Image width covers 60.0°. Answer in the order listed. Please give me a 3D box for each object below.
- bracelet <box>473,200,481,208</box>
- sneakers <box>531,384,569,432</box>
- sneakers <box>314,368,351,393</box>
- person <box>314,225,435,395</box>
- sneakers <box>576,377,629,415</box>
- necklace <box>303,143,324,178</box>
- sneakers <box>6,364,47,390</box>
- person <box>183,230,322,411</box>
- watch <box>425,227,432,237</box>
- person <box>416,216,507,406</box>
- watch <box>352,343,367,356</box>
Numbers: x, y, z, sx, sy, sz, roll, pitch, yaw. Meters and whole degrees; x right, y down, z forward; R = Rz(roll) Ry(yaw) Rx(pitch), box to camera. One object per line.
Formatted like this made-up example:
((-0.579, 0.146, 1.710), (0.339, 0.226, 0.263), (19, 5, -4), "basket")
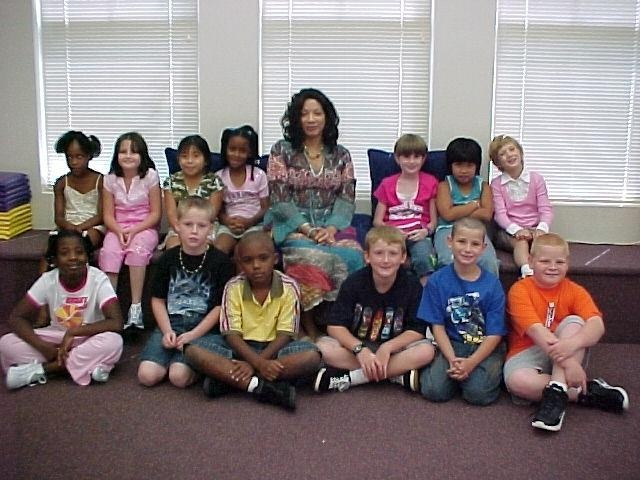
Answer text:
((1.010, -0.236, 3.574), (0.025, 0.040, 0.054), (-4, 34, 6), "bracelet")
((1.039, 0.758, 2.505), (0.101, 0.122, 0.284), (6, 23, 27), "sneakers")
((0.073, 0.682, 2.745), (0.099, 0.082, 0.223), (12, 17, 37), "sneakers")
((0.295, 0.317, 3.017), (0.782, 0.968, 0.737), (1, 13, 5), "person")
((1.337, 0.729, 2.623), (0.133, 0.103, 0.287), (-7, 10, -41), "sneakers")
((-0.032, -0.501, 3.493), (0.115, 0.197, 0.044), (-10, -13, -10), "necklace")
((-1.463, 0.675, 2.759), (0.143, 0.121, 0.064), (-5, -12, -18), "sneakers")
((-0.297, 0.363, 2.978), (0.807, 0.953, 0.781), (1, 6, -1), "person")
((0.691, -0.055, 3.499), (0.045, 0.063, 0.024), (-2, 1, 1), "watch")
((0.701, 0.339, 2.732), (0.431, 0.845, 0.401), (5, 17, 19), "person")
((0.192, 0.534, 2.739), (0.044, 0.064, 0.068), (25, 49, 39), "watch")
